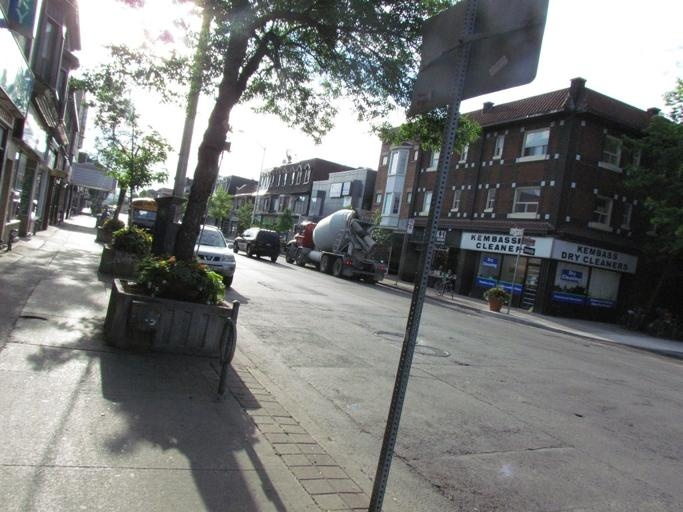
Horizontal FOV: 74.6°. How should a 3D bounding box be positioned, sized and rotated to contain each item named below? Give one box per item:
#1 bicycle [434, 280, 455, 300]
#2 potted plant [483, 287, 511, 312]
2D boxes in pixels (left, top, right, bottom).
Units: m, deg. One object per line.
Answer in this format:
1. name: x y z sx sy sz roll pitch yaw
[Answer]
1. bicycle: 7.239 2.262 30.793 0.966 1.176 1.885 1 0 -41
2. potted plant: 8.690 2.420 24.942 1.329 1.407 1.301 6 -7 -6
